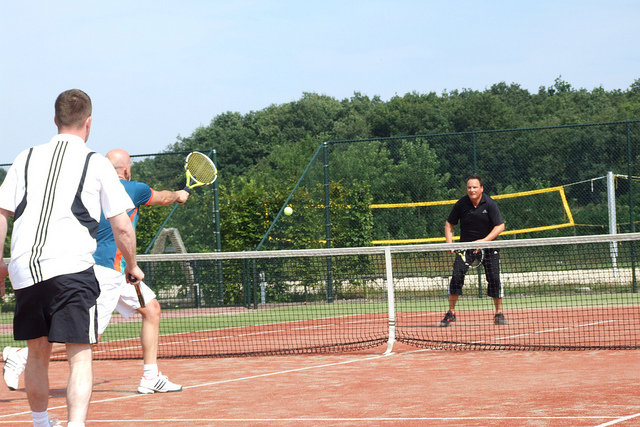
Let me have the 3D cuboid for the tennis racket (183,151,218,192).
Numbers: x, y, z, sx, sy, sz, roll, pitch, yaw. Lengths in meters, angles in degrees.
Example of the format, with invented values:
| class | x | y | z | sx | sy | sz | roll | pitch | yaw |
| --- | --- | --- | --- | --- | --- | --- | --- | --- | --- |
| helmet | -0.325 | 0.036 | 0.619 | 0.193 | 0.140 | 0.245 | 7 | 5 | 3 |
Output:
| class | x | y | z | sx | sy | sz | roll | pitch | yaw |
| --- | --- | --- | --- | --- | --- | --- | --- | --- | --- |
| tennis racket | -1.701 | -0.636 | 11.403 | 0.431 | 0.631 | 0.859 | -4 | -5 | -10 |

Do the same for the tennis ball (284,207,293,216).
| class | x | y | z | sx | sy | sz | roll | pitch | yaw |
| --- | --- | --- | --- | --- | --- | --- | --- | --- | --- |
| tennis ball | -0.652 | -0.072 | 16.788 | 0.142 | 0.142 | 0.165 | -4 | -43 | 0 |

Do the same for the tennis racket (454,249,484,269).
| class | x | y | z | sx | sy | sz | roll | pitch | yaw |
| --- | --- | --- | --- | --- | --- | --- | --- | --- | --- |
| tennis racket | 2.134 | 0.619 | 11.290 | 0.282 | 0.124 | 0.385 | -3 | 4 | -45 |

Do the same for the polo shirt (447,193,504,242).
| class | x | y | z | sx | sy | sz | roll | pitch | yaw |
| --- | --- | --- | --- | --- | --- | --- | --- | --- | --- |
| polo shirt | 2.335 | 0.050 | 11.799 | 0.819 | 0.739 | 0.433 | 2 | -2 | 23 |

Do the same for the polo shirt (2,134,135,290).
| class | x | y | z | sx | sy | sz | roll | pitch | yaw |
| --- | --- | --- | --- | --- | --- | --- | --- | --- | --- |
| polo shirt | -2.017 | 0.038 | 6.358 | 1.313 | 1.269 | 0.580 | 1 | 1 | 12 |

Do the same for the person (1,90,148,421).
| class | x | y | z | sx | sy | sz | roll | pitch | yaw |
| --- | --- | --- | --- | --- | --- | --- | --- | --- | --- |
| person | -2.009 | 0.314 | 6.390 | 1.025 | 2.614 | 0.374 | -3 | -5 | -14 |

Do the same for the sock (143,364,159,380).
| class | x | y | z | sx | sy | sz | roll | pitch | yaw |
| --- | --- | --- | --- | --- | --- | --- | --- | --- | --- |
| sock | -1.676 | 1.572 | 7.932 | 0.122 | 0.147 | 0.153 | 0 | 5 | 15 |
